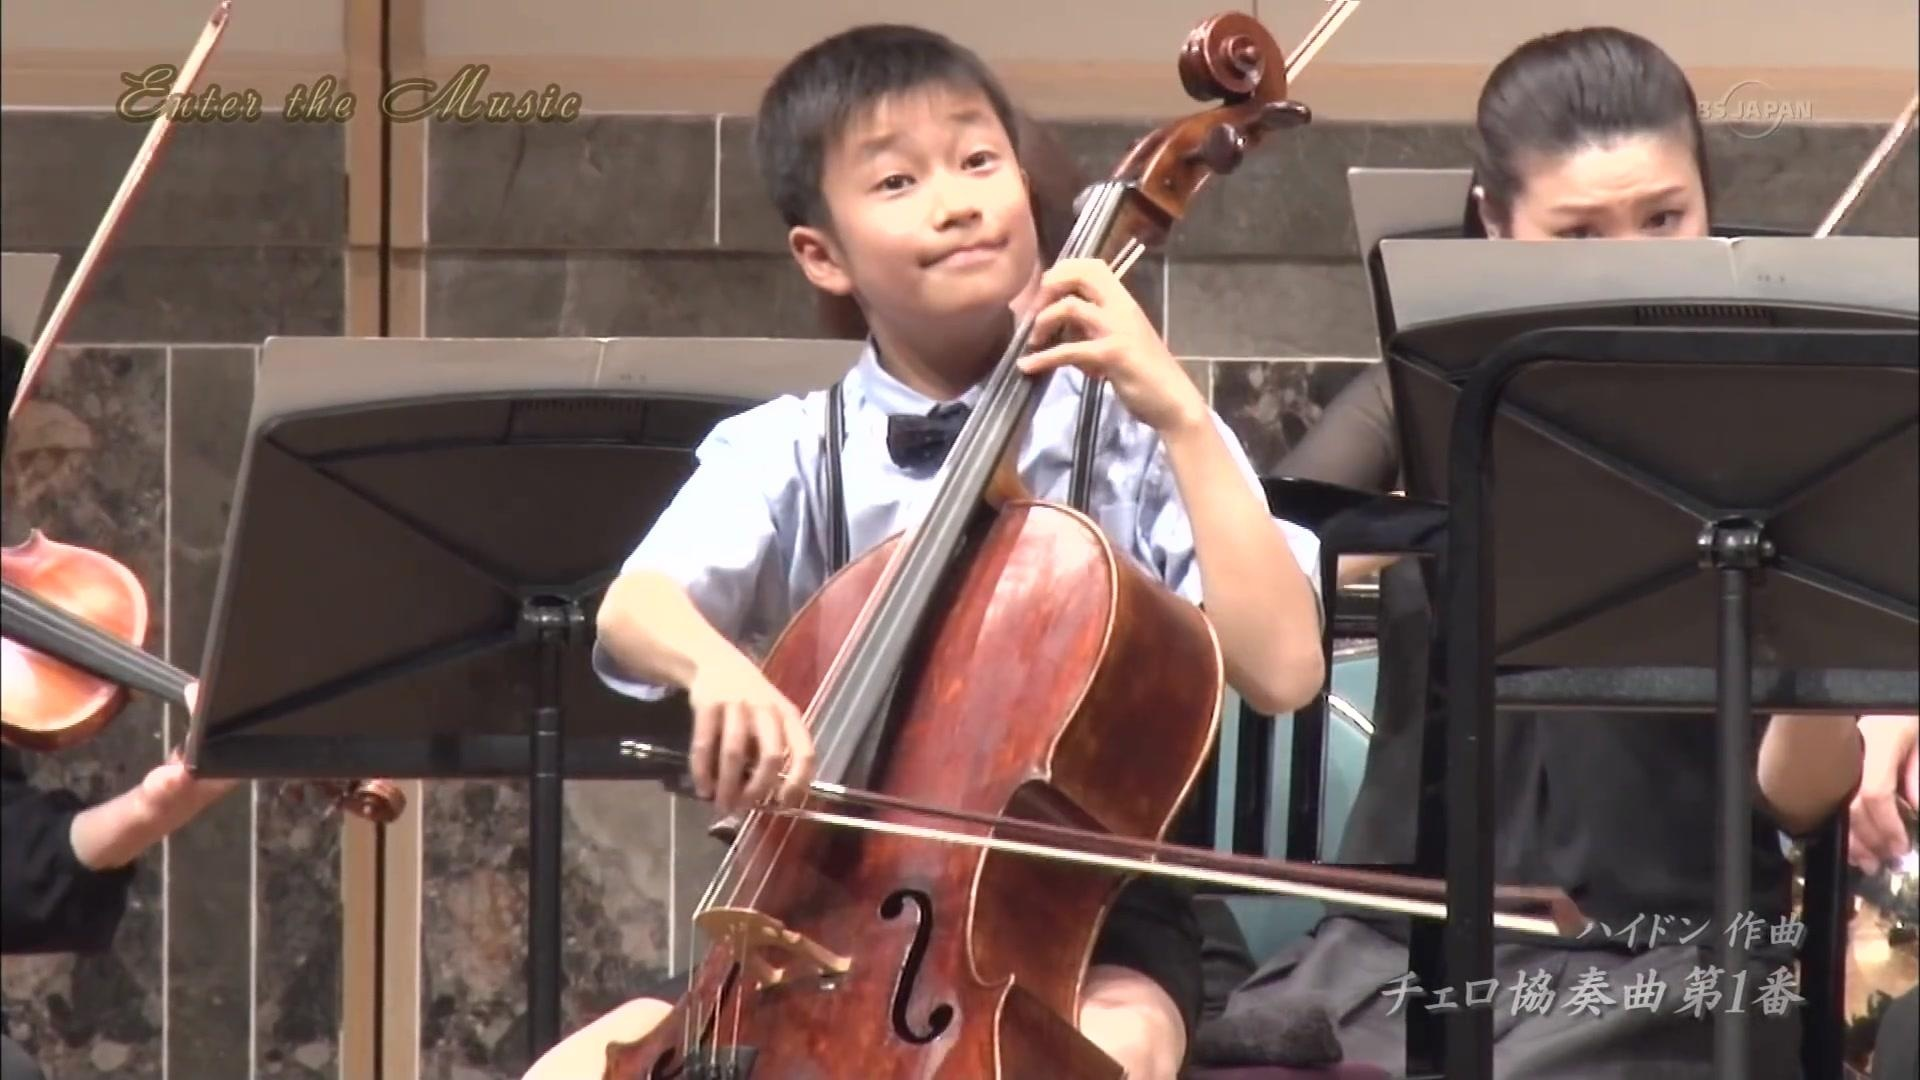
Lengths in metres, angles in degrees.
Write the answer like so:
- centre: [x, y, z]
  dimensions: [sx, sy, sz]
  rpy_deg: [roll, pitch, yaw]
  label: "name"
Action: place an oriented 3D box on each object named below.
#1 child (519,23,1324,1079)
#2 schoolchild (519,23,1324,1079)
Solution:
- centre: [0.003, 0.012, 3.984]
  dimensions: [0.849, 1.124, 0.443]
  rpy_deg: [-4, -15, 17]
  label: "child"
- centre: [0.001, 0.040, 3.977]
  dimensions: [0.849, 1.124, 0.443]
  rpy_deg: [-4, -15, 17]
  label: "schoolchild"
